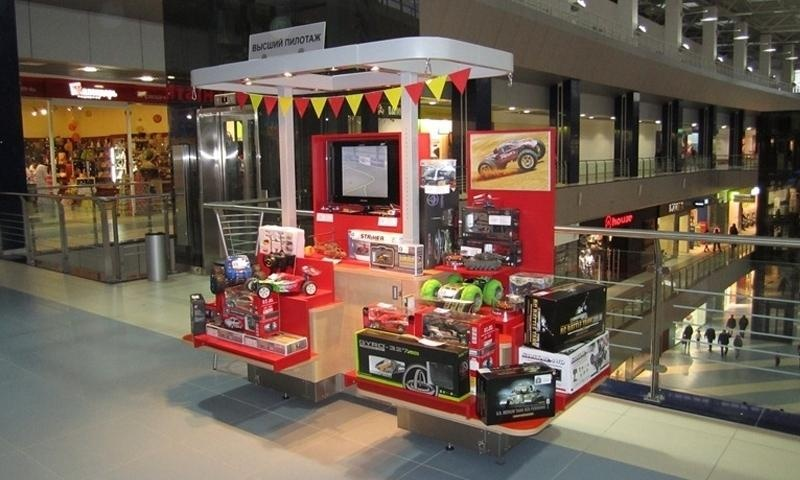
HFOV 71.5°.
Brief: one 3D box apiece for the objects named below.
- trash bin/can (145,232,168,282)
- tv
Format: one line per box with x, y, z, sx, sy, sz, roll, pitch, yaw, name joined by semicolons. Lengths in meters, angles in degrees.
-4.699;0.333;10.758;0.426;0.909;0.339;-8;11;-29;trash bin/can
-0.412;-0.783;6.791;0.980;0.778;0.138;2;2;28;tv
